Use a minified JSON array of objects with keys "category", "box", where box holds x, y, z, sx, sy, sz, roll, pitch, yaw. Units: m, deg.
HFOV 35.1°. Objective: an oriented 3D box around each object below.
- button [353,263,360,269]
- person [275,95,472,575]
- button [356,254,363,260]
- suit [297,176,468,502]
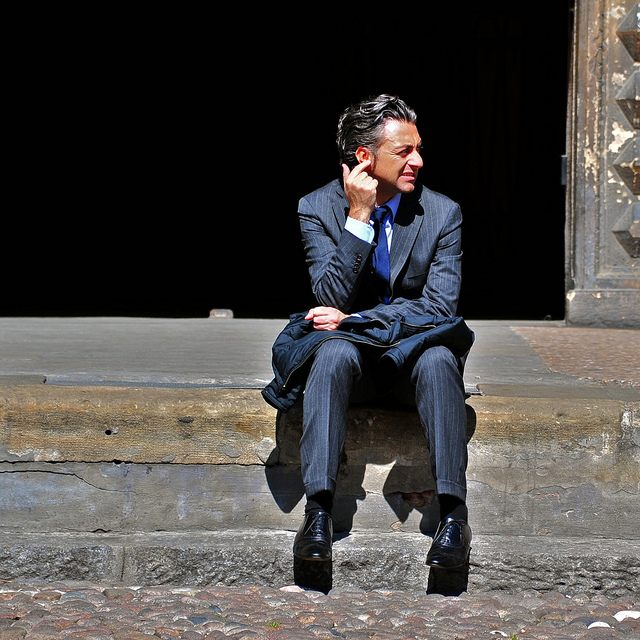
[{"category":"button","box":[0.123,-0.187,3.413,0.023,0.017,0.005,1,-3,-27]},{"category":"person","box":[0.176,-0.009,3.384,0.625,1.573,0.578,-1,-3,6]},{"category":"button","box":[0.132,-0.217,3.413,0.022,0.017,0.005,4,-2,1]},{"category":"suit","box":[0.215,0.020,3.412,0.577,1.099,0.551,0,-3,-1]}]
